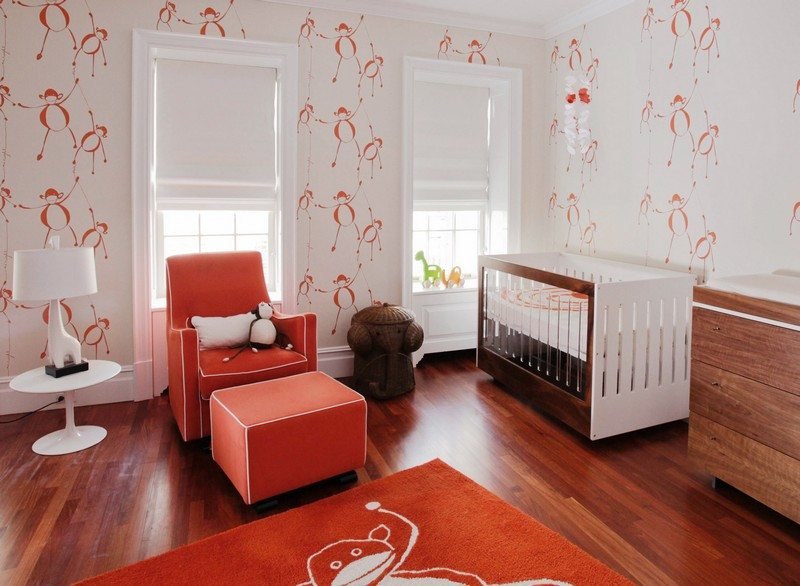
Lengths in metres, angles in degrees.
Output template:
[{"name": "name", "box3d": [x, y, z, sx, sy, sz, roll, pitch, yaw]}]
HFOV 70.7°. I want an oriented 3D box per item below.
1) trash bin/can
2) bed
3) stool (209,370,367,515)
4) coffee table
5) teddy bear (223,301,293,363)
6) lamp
[{"name": "trash bin/can", "box3d": [-0.132, 0.391, 4.328, 0.586, 0.705, 0.506, -7, 18, -22]}, {"name": "bed", "box3d": [1.258, 0.304, 3.925, 1.005, 1.174, 1.838, -5, 11, -24]}, {"name": "stool", "box3d": [-0.600, 0.772, 3.199, 0.723, 0.463, 0.539, -8, 16, -34]}, {"name": "coffee table", "box3d": [-2.056, 0.697, 3.439, 0.573, 0.403, 0.583, 12, 16, 36]}, {"name": "teddy bear", "box3d": [-1.037, 0.294, 3.797, 0.486, 0.308, 0.211, -24, -9, 21]}, {"name": "lamp", "box3d": [-2.137, 0.066, 3.424, 0.535, 0.814, 0.395, 5, 13, 31]}]
